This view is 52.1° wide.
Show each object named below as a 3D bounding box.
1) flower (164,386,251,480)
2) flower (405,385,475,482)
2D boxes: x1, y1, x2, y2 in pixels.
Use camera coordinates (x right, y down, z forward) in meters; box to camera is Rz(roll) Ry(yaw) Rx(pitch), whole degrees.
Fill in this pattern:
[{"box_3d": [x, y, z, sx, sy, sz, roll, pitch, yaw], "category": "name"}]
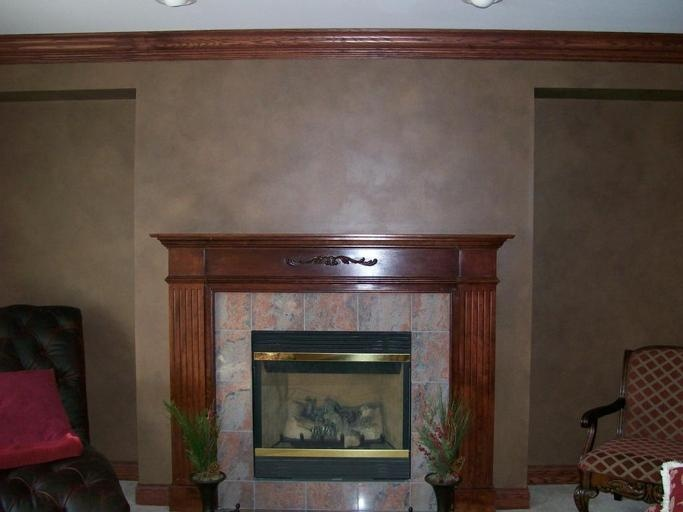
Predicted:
[{"box_3d": [-0.928, 1.195, 4.569, 0.467, 0.656, 0.408, 3, -12, -29], "category": "flower"}, {"box_3d": [0.660, 1.169, 4.585, 0.378, 0.547, 0.266, 2, -4, 7], "category": "flower"}]
